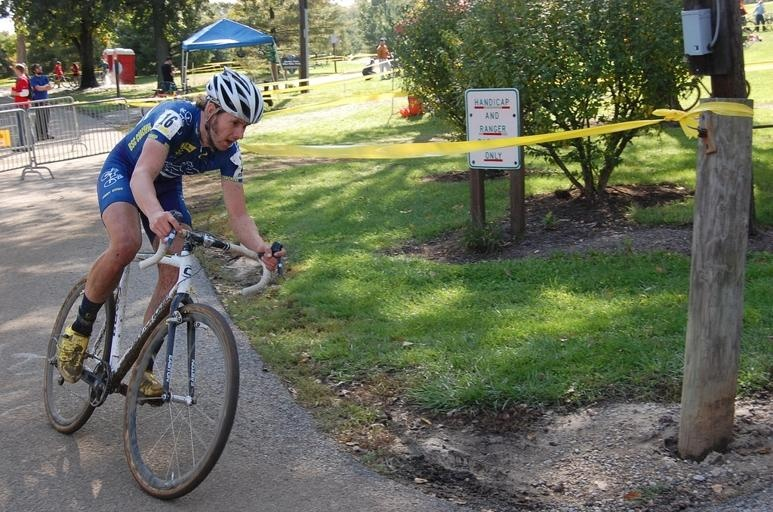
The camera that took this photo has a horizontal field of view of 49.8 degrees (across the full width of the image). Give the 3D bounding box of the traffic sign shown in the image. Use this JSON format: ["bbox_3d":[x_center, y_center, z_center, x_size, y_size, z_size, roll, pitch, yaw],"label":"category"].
[{"bbox_3d":[1.318,-1.564,10.211,0.709,1.023,0.353,-4,14,12],"label":"traffic sign"}]

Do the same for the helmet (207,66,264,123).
[{"bbox_3d":[-1.161,-1.213,6.278,0.404,0.429,0.255,-8,13,-6],"label":"helmet"}]
